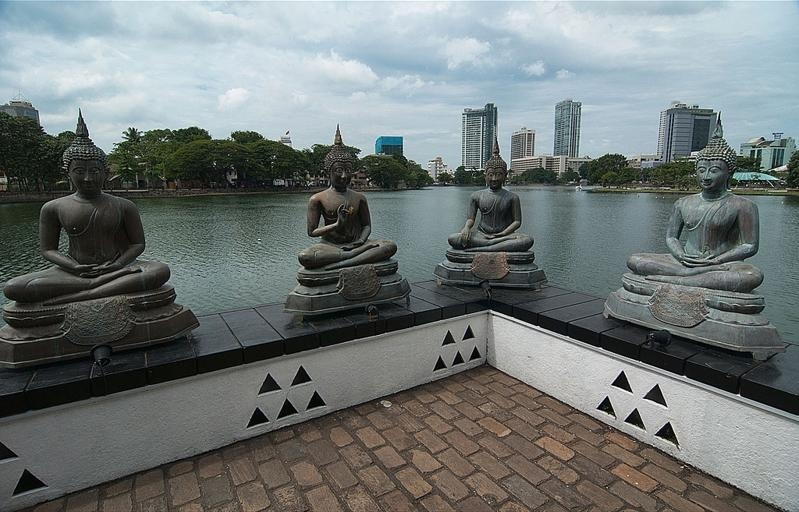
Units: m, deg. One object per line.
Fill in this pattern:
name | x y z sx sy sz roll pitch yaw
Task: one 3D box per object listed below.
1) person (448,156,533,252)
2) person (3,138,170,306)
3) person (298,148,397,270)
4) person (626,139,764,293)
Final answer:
person | 1.706 -1.023 8.131 1.376 1.788 1.049 -1 14 7
person | -4.036 -0.479 5.554 1.609 1.991 0.887 -10 16 -26
person | -0.981 -0.793 6.780 1.403 1.833 1.013 -11 16 -30
person | 4.131 -0.591 5.910 1.413 1.979 1.075 7 17 35
